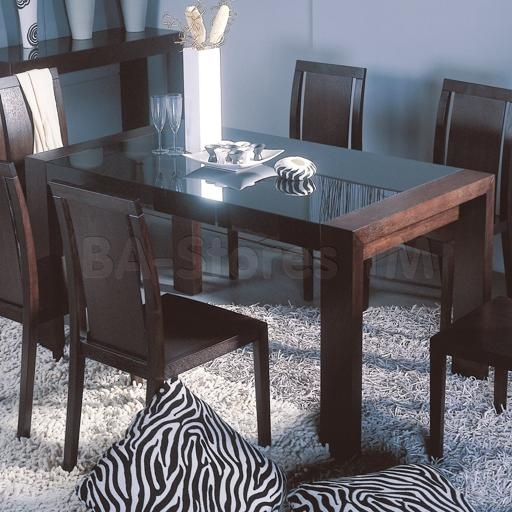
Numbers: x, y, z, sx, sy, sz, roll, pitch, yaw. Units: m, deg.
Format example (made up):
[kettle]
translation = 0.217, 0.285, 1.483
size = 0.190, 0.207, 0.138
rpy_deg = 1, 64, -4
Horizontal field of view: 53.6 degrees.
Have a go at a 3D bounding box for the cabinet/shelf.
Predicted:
[cabinet/shelf]
translation = -0.211, -0.627, 2.024
size = 0.112, 0.475, 0.140
rpy_deg = -20, 45, -30
